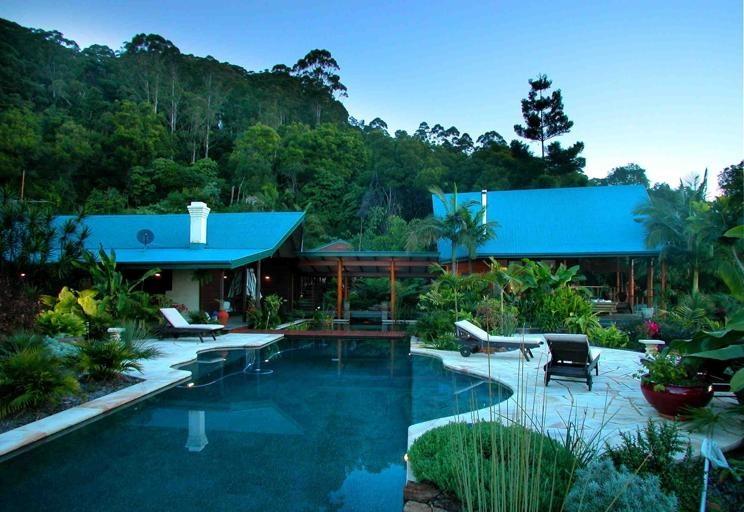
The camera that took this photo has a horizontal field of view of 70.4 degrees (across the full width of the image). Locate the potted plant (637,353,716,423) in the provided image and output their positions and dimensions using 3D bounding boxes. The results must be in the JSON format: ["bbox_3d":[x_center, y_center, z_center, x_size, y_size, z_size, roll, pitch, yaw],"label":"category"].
[{"bbox_3d":[6.168,2.820,10.787,1.222,0.838,1.238,-2,-1,-9],"label":"potted plant"}]

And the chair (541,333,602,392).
[{"bbox_3d":[4.735,2.428,12.706,0.890,1.063,1.676,-1,1,25],"label":"chair"}]

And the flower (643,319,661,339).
[{"bbox_3d":[8.965,2.355,16.937,0.554,0.716,0.530,-1,-10,0],"label":"flower"}]

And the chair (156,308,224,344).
[{"bbox_3d":[-6.608,2.456,18.571,2.004,1.150,1.163,2,-2,2],"label":"chair"}]

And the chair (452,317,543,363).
[{"bbox_3d":[3.690,2.695,16.117,2.753,1.181,1.456,-2,-2,12],"label":"chair"}]
